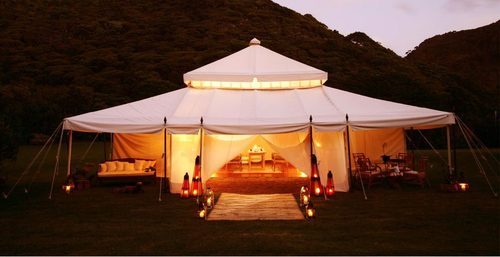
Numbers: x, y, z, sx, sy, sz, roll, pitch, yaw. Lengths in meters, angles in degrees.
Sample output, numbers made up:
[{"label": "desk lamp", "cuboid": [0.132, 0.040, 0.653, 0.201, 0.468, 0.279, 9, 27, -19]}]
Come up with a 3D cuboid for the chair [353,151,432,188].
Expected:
[{"label": "chair", "cuboid": [7.685, 2.314, 23.063, 3.440, 1.346, 2.160, -2, 4, -24]}]
